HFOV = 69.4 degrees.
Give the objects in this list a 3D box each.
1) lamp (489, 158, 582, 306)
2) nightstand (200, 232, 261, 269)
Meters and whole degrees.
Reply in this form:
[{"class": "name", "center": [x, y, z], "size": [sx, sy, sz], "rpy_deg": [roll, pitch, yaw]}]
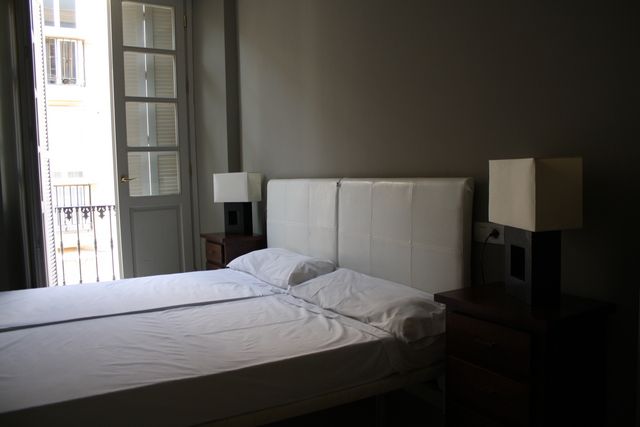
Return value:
[{"class": "lamp", "center": [1.049, 0.075, 2.339], "size": [0.448, 0.721, 0.259], "rpy_deg": [6, 16, 28]}, {"class": "nightstand", "center": [-0.878, 0.310, 4.599], "size": [0.366, 0.489, 0.491], "rpy_deg": [-1, 2, -31]}]
